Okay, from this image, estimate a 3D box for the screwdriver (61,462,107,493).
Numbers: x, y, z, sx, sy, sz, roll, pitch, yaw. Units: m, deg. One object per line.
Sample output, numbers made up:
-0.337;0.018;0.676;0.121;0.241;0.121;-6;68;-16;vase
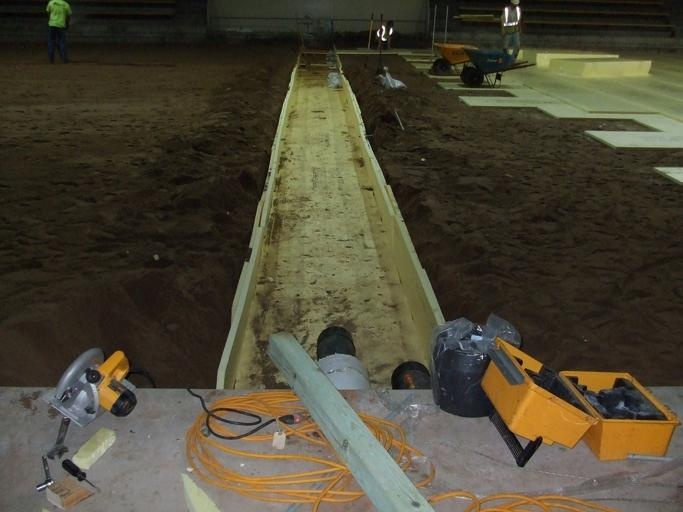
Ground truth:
-1.151;0.994;2.201;0.160;0.038;0.036;32;7;22;screwdriver
